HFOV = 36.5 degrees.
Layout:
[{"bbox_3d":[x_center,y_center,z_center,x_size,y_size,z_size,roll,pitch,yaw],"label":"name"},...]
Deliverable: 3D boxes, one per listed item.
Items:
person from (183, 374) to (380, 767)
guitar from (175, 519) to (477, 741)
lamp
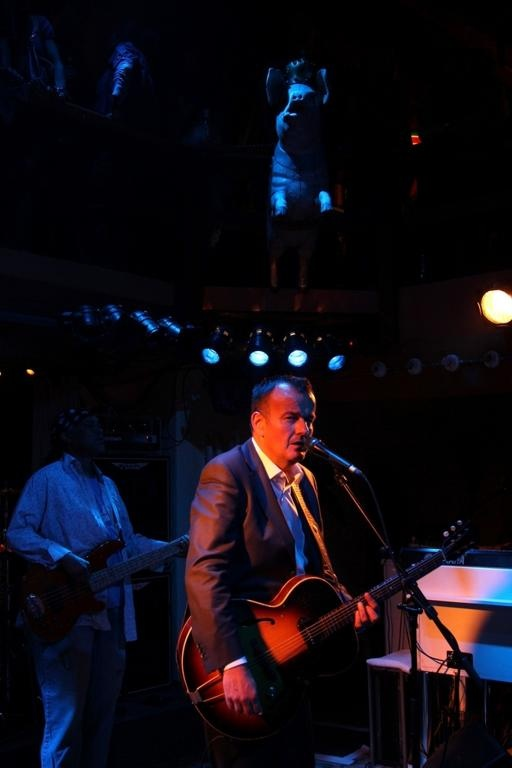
[{"bbox_3d":[0.065,0.594,2.507,0.396,1.252,0.700,-1,-2,36],"label":"person"},{"bbox_3d":[0.259,0.759,2.586,1.066,0.415,0.121,-28,4,-35],"label":"guitar"},{"bbox_3d":[0.150,-0.227,5.247,1.033,0.307,0.221,0,-2,-6],"label":"lamp"}]
